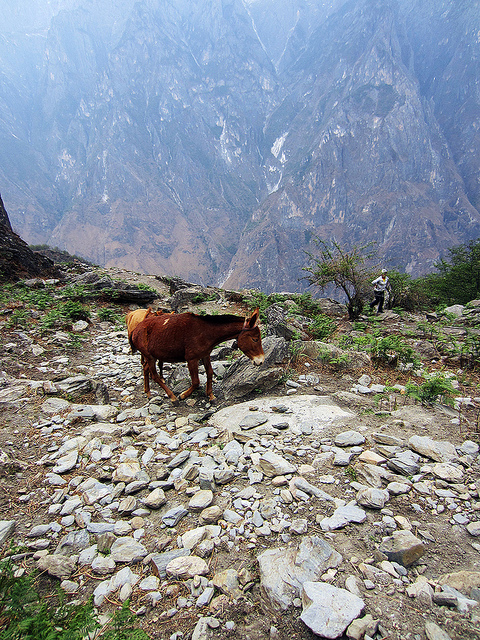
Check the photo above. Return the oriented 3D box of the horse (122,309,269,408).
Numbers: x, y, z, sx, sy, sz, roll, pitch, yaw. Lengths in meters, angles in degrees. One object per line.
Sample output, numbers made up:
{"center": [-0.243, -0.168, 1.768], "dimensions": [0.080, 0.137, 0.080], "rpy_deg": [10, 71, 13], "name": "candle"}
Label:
{"center": [-0.868, 0.618, 6.363], "dimensions": [2.708, 1.611, 0.915], "rpy_deg": [-2, 7, 39], "name": "horse"}
